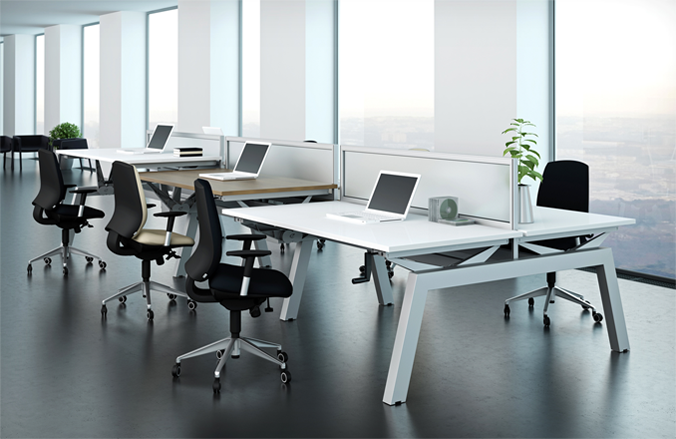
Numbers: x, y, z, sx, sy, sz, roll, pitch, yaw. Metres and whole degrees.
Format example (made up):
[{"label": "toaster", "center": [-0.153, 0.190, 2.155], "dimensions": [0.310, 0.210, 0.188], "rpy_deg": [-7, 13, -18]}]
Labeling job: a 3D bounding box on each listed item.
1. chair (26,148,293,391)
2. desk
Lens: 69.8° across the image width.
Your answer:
[{"label": "chair", "center": [-1.723, 0.465, 4.742], "dimensions": [2.595, 0.844, 0.821], "rpy_deg": [12, 14, 43]}, {"label": "desk", "center": [0.709, 0.295, 3.942], "dimensions": [3.076, 1.557, 2.158], "rpy_deg": [6, 13, 25]}]
